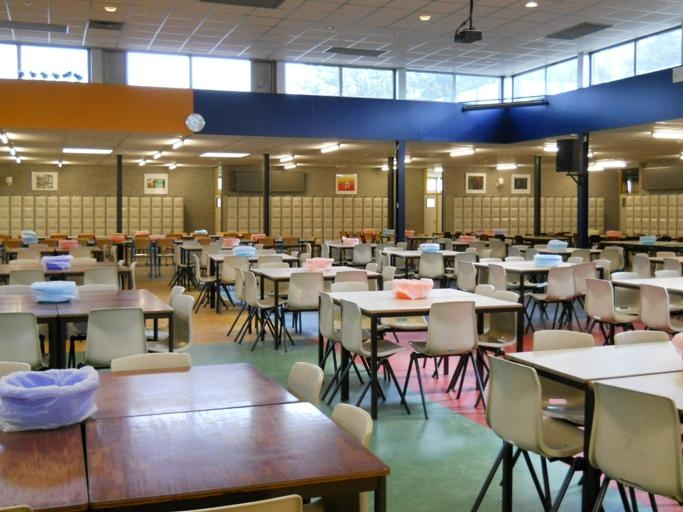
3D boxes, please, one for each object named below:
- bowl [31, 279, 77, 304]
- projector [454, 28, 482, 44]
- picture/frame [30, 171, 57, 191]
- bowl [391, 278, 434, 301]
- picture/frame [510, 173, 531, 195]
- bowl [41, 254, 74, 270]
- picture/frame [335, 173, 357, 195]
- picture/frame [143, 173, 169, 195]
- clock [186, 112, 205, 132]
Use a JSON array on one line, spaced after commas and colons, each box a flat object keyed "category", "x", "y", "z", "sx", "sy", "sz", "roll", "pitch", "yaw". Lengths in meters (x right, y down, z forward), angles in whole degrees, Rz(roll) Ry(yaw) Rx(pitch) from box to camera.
[{"category": "bowl", "x": -2.823, "y": 0.348, "z": 5.385, "sx": 0.418, "sy": 0.186, "sz": 0.302, "roll": -3, "pitch": 5, "yaw": -12}, {"category": "projector", "x": 2.049, "y": -3.603, "z": 9.021, "sx": 0.379, "sy": 0.145, "sz": 0.384, "roll": -2, "pitch": 0, "yaw": -26}, {"category": "picture/frame", "x": -11.006, "y": -2.781, "z": 20.155, "sx": 0.754, "sy": 0.633, "sz": 0.062, "roll": 0, "pitch": 0, "yaw": -31}, {"category": "bowl", "x": 0.736, "y": 0.340, "z": 5.644, "sx": 0.384, "sy": 0.191, "sz": 0.229, "roll": -2, "pitch": 5, "yaw": -2}, {"category": "picture/frame", "x": 7.372, "y": -3.024, "z": 22.687, "sx": 0.877, "sy": 0.901, "sz": 0.062, "roll": 2, "pitch": 5, "yaw": -12}, {"category": "bowl", "x": -3.832, "y": 0.098, "z": 7.381, "sx": 0.403, "sy": 0.184, "sz": 0.347, "roll": -2, "pitch": 5, "yaw": -2}, {"category": "picture/frame", "x": 0.142, "y": -2.932, "z": 22.198, "sx": 0.868, "sy": 0.745, "sz": 0.070, "roll": 2, "pitch": -5, "yaw": -24}, {"category": "picture/frame", "x": -7.366, "y": -2.858, "z": 21.570, "sx": 0.893, "sy": 0.841, "sz": 0.063, "roll": 1, "pitch": -4, "yaw": -29}, {"category": "clock", "x": -3.513, "y": -3.223, "z": 13.186, "sx": 0.473, "sy": 0.450, "sz": 0.122, "roll": -3, "pitch": 6, "yaw": -17}]
